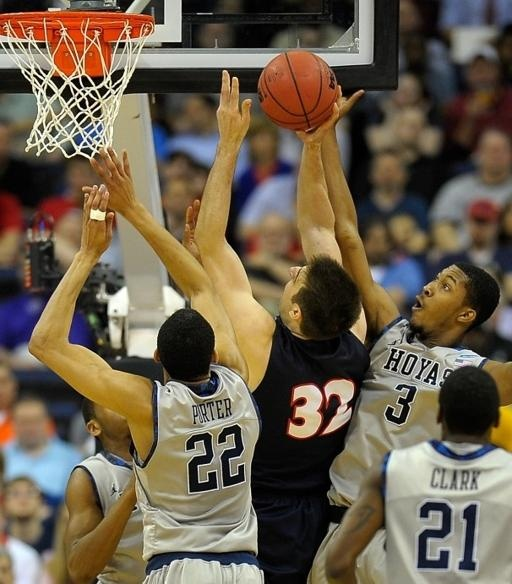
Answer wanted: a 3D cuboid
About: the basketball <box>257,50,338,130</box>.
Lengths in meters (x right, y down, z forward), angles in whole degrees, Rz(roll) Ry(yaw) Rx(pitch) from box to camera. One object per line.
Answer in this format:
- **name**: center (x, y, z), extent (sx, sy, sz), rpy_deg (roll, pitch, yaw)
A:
- **basketball**: center (0.154, -0.878, 4.176), extent (0.346, 0.386, 0.337), rpy_deg (2, -6, -20)
